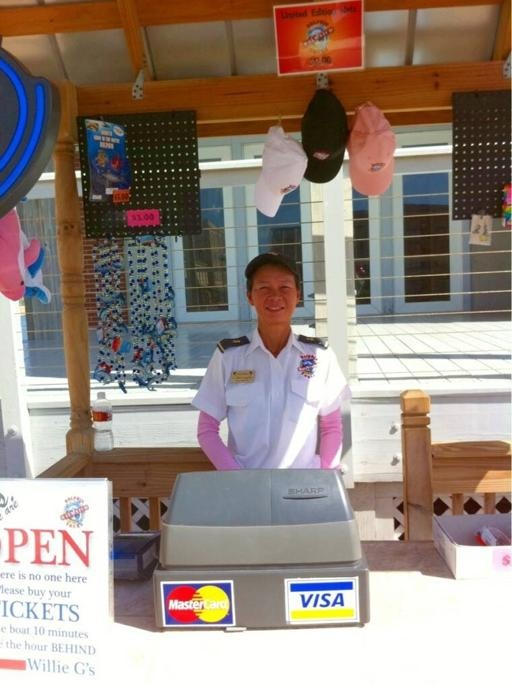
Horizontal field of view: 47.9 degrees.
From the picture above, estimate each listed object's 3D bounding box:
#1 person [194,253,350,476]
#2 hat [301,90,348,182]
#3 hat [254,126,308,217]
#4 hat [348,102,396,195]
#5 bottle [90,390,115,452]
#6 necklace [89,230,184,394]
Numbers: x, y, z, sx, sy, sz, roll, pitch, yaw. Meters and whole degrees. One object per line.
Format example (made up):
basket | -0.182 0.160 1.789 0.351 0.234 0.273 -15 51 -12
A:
person | 0.055 0.059 1.913 0.527 0.711 0.386 -2 4 -15
hat | 0.235 -0.717 2.006 0.181 0.276 0.070 11 28 19
hat | 0.084 -0.622 2.040 0.179 0.318 0.238 -1 4 0
hat | 0.402 -0.686 2.039 0.156 0.295 0.282 0 4 12
bottle | -0.598 0.291 2.227 0.077 0.230 0.217 -2 4 -16
necklace | -0.518 -0.121 2.455 0.343 0.643 0.223 -2 4 -9
